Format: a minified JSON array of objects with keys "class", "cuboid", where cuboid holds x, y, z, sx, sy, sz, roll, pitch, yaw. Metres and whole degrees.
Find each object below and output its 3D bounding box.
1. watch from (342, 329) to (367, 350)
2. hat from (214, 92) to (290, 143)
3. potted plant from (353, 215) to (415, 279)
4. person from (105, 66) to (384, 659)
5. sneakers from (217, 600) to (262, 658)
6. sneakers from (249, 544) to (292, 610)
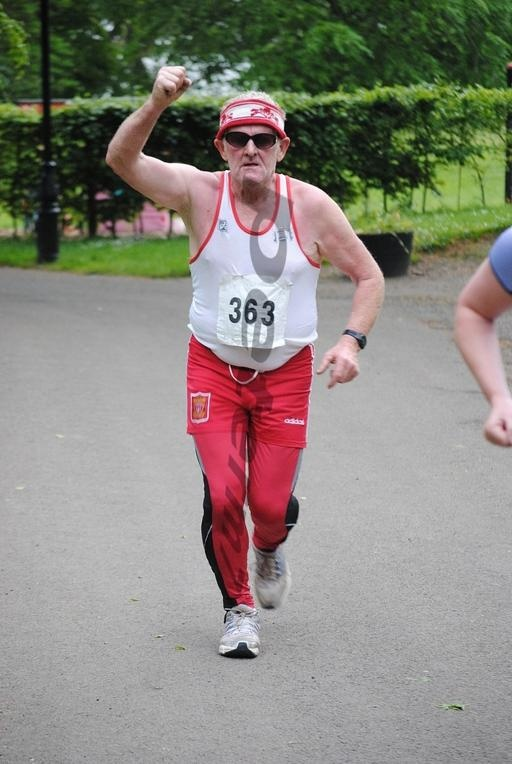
[{"class":"watch","cuboid":[0.291,-0.142,2.819,0.067,0.037,0.066,31,3,24]},{"class":"hat","cuboid":[-0.017,-0.791,2.738,0.180,0.102,0.162,-1,-1,-13]},{"class":"potted plant","cuboid":[0.843,-0.850,5.700,0.463,0.317,0.471,-2,2,-17]},{"class":"person","cuboid":[-0.046,-0.047,2.817,0.772,1.770,0.475,5,12,14]},{"class":"sneakers","cuboid":[-0.053,0.772,2.833,0.116,0.114,0.290,0,-11,0]},{"class":"sneakers","cuboid":[0.050,0.649,3.019,0.102,0.235,0.104,-2,4,13]}]
